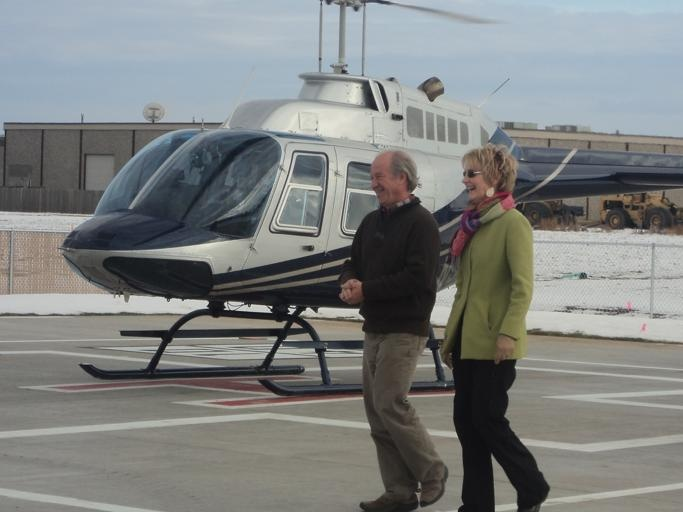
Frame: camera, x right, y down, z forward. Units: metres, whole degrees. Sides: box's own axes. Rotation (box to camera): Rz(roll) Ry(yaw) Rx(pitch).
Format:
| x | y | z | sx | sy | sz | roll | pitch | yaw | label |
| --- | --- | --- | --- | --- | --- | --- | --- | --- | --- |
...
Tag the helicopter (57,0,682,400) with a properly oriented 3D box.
| x | y | z | sx | sy | sz | roll | pitch | yaw | label |
| --- | --- | --- | --- | --- | --- | --- | --- | --- | --- |
| -0.511 | -0.589 | 18.120 | 7.775 | 3.168 | 4.568 | 4 | -4 | -38 | helicopter |
